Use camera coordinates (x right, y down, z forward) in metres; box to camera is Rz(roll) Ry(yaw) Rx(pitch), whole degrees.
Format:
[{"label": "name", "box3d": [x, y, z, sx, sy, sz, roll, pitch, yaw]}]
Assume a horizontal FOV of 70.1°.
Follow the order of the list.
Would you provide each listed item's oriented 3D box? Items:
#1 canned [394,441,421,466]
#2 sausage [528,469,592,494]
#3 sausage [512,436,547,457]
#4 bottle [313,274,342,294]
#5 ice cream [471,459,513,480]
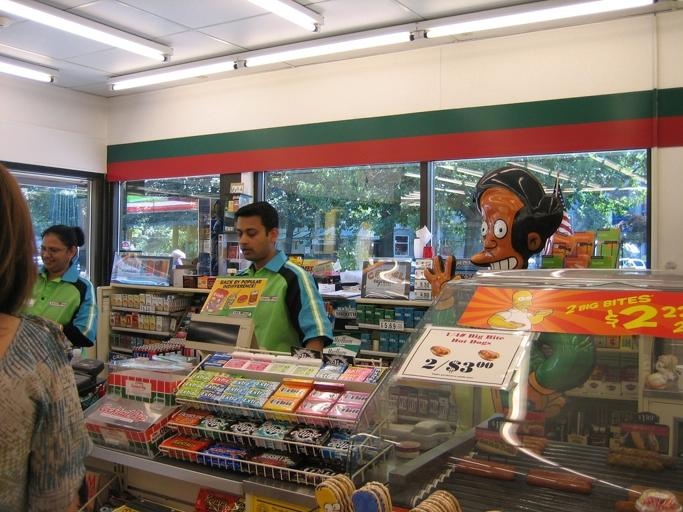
[{"label": "canned", "box3d": [0.163, 0.511, 1.278, 0.058, 0.032, 0.055, 0, 2, 8]}, {"label": "sausage", "box3d": [0.519, 0.521, 1.153, 0.104, 0.028, 0.054, 2, 10, 23]}, {"label": "sausage", "box3d": [0.466, 0.474, 1.208, 0.060, 0.058, 0.014, 10, -26, 7]}, {"label": "bottle", "box3d": [-0.139, 0.276, 4.998, 0.216, 0.135, 0.225, -1, 1, 0]}, {"label": "ice cream", "box3d": [0.373, 0.525, 1.221, 0.106, 0.029, 0.033, 4, 22, 29]}]
